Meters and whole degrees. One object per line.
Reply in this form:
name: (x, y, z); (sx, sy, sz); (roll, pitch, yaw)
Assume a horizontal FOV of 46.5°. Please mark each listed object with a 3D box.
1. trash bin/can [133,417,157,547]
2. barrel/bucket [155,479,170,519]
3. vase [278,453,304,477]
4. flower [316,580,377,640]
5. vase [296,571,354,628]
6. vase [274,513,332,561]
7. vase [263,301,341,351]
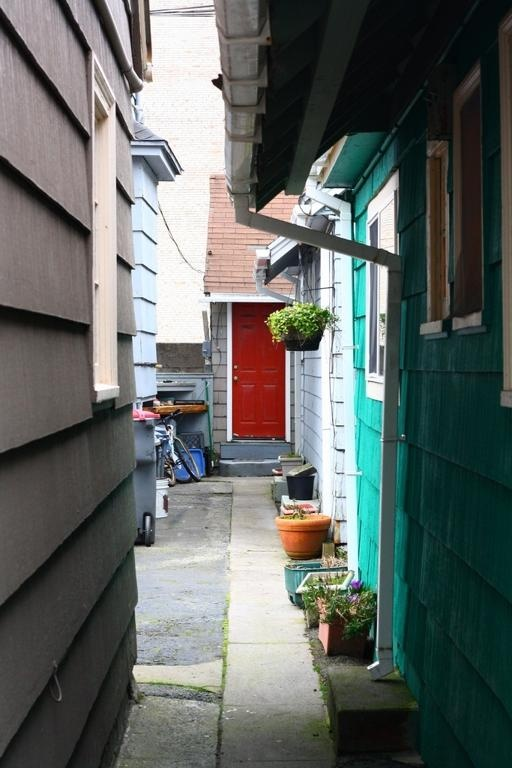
trash bin/can: (-1.192, 1.030, 6.366); (0.223, 1.367, 0.484); (0, -1, -13)
barrel/bucket: (-1.199, 1.452, 7.576); (0.125, 0.516, 0.236); (0, -1, -12)
vase: (0.520, 1.147, 8.612); (0.252, 0.294, 0.255); (0, -3, 1)
flower: (0.571, 1.412, 3.679); (0.335, 0.287, 0.487); (1, -2, -5)
vase: (0.466, 1.468, 4.213); (0.249, 0.189, 0.436); (-1, -7, 0)
vase: (0.457, 1.399, 5.539); (0.352, 0.388, 0.428); (-2, -9, 13)
vase: (0.444, -0.564, 5.700); (0.692, 0.465, 0.450); (-1, -2, 42)
